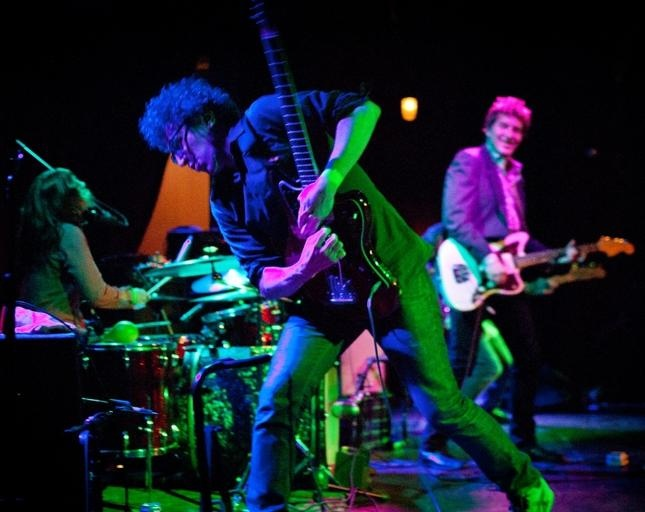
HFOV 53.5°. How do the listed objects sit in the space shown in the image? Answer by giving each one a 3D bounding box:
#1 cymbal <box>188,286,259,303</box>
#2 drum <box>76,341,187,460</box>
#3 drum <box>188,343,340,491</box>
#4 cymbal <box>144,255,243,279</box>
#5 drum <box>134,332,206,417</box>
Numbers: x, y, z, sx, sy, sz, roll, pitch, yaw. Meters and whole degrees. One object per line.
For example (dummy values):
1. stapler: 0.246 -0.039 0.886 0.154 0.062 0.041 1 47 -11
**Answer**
1. cymbal: -0.620 0.281 4.450 0.275 0.052 0.297 -3 1 -43
2. drum: -1.299 0.955 4.172 0.623 0.649 0.600 -3 -13 -6
3. drum: -0.379 1.121 4.170 0.883 0.911 0.871 0 -9 -19
4. cymbal: -0.903 0.084 4.426 0.355 0.078 0.337 -5 2 31
5. drum: -0.923 0.777 4.233 0.458 0.506 0.457 -2 -1 5
